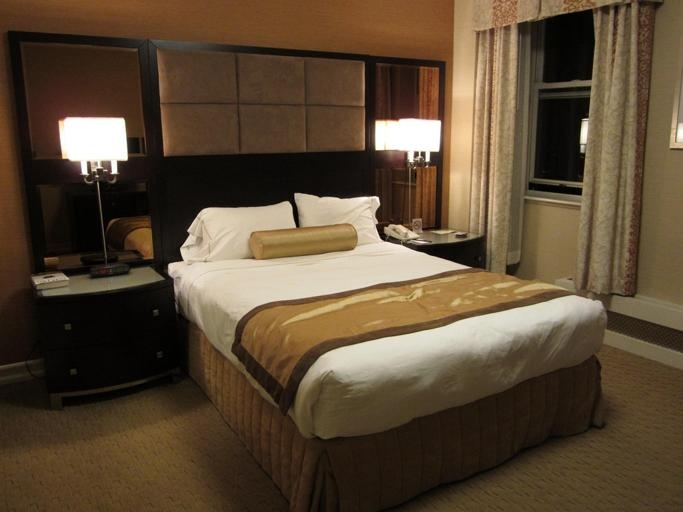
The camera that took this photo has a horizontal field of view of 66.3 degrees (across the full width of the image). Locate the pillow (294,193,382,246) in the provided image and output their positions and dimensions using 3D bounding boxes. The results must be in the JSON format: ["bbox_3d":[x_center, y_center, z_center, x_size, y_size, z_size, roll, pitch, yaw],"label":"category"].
[{"bbox_3d":[-0.062,-0.241,4.743,0.547,0.174,0.596,-3,11,11],"label":"pillow"}]

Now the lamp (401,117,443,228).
[{"bbox_3d":[0.740,-0.761,5.209,0.383,1.187,0.312,8,22,11],"label":"lamp"}]

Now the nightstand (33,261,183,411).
[{"bbox_3d":[-1.835,0.565,4.091,0.824,0.875,1.065,17,22,42],"label":"nightstand"}]

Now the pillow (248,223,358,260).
[{"bbox_3d":[-0.313,-0.125,4.437,0.871,0.260,0.268,-6,7,-12],"label":"pillow"}]

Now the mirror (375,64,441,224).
[{"bbox_3d":[0.636,-1.054,5.348,0.851,1.837,0.047,6,26,16],"label":"mirror"}]

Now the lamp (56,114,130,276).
[{"bbox_3d":[-1.803,-0.442,3.917,0.436,1.139,0.311,-9,8,-42],"label":"lamp"}]
